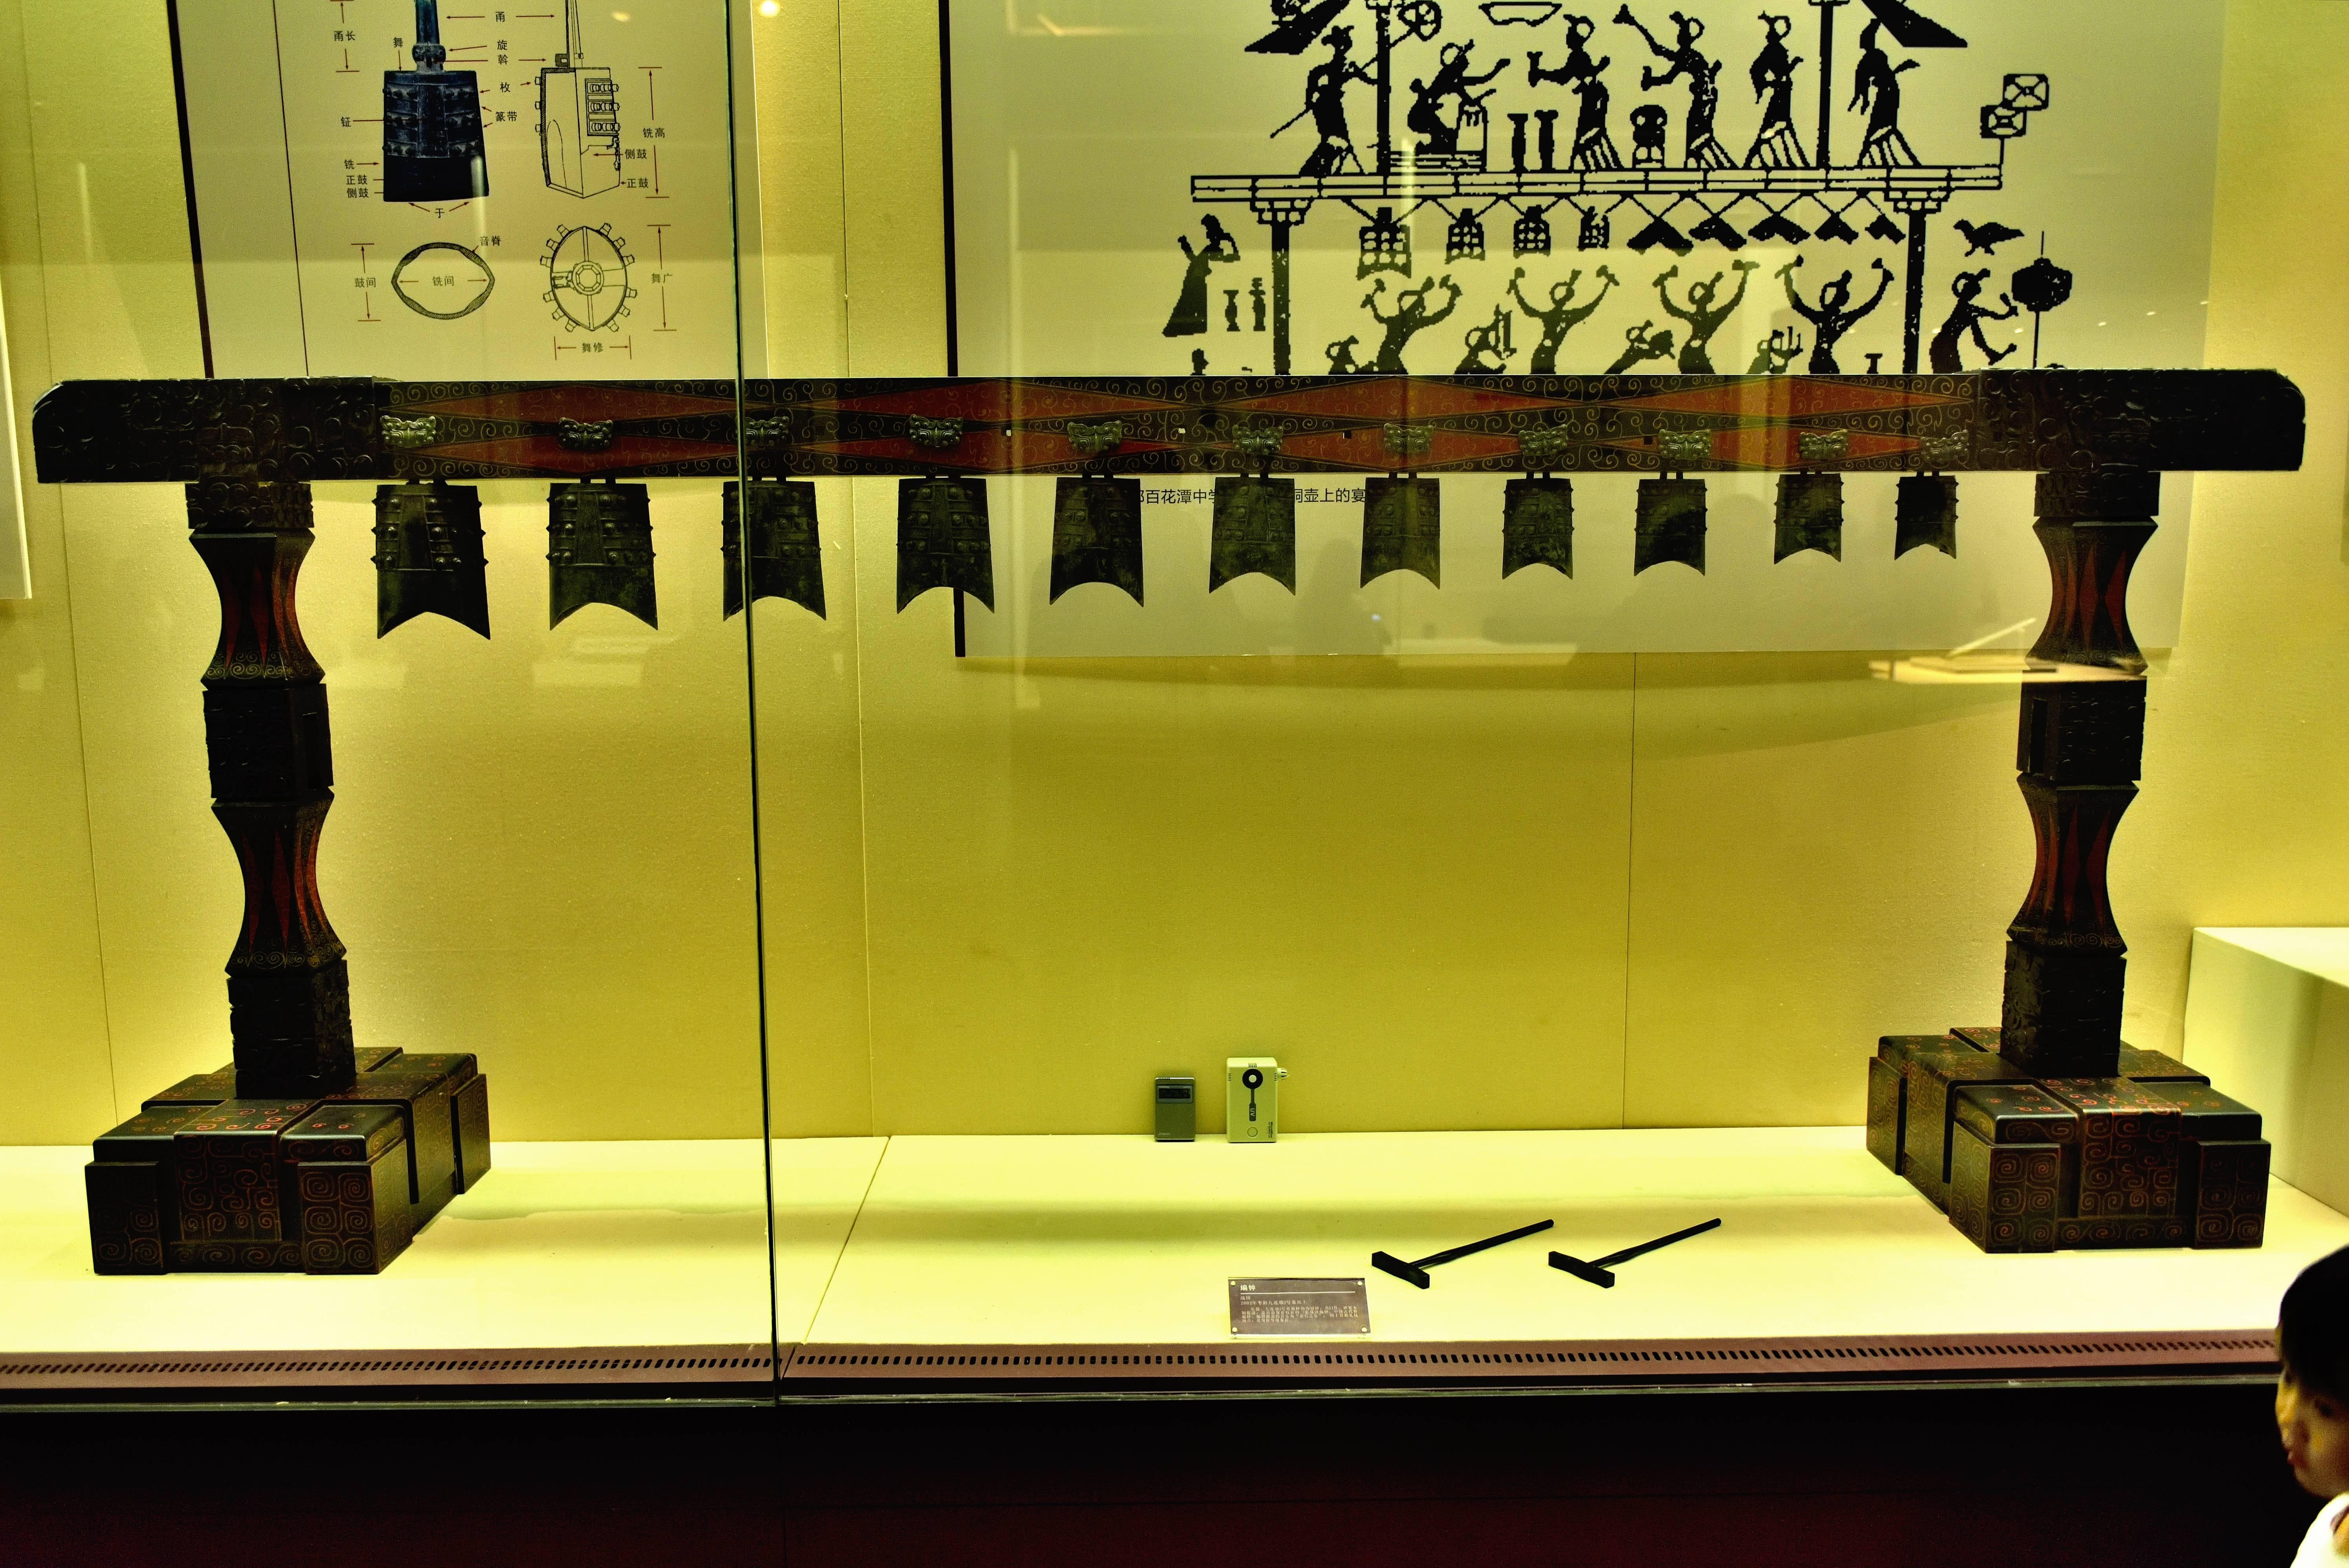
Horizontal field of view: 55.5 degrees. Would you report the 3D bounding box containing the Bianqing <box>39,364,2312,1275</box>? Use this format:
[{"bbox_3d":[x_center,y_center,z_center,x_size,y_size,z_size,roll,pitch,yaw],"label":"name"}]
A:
[{"bbox_3d":[0.028,0.018,3.950,3.966,0.527,1.483,1,-84,0],"label":"Bianqing"}]
